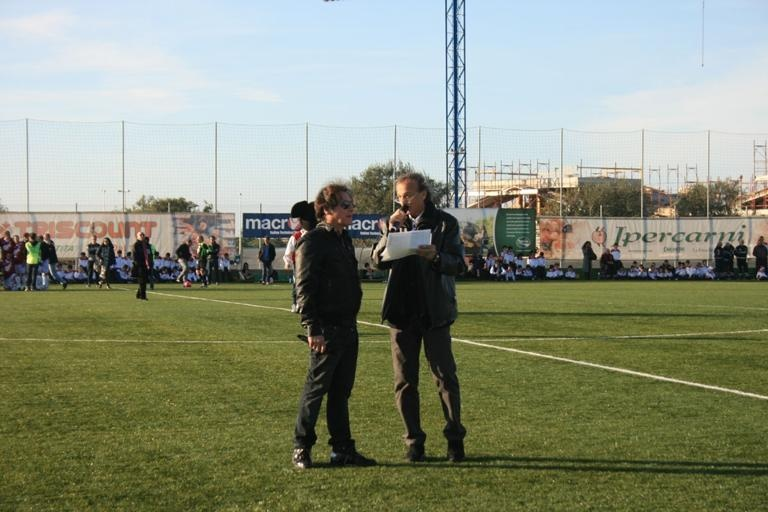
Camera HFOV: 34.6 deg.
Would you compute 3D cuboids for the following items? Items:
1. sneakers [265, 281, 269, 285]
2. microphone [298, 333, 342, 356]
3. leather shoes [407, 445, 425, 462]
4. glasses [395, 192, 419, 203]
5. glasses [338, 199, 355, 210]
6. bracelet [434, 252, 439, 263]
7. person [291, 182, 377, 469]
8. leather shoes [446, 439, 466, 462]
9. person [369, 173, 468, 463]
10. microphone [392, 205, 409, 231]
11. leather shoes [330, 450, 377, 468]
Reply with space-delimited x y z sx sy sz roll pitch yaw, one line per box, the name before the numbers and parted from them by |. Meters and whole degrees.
sneakers | -3.629 0.874 38.294 0.073 0.093 0.236 2 -9 -4
microphone | -0.868 1.162 15.962 0.396 0.139 0.290 7 -1 -9
leather shoes | 0.418 2.575 15.966 0.234 0.212 0.126 0 3 0
glasses | 0.356 -0.748 16.292 0.169 0.081 0.179 -1 20 33
glasses | -0.477 -0.661 15.966 0.129 0.130 0.043 0 5 4
bracelet | 0.693 0.033 15.969 0.022 0.091 0.092 12 -32 -34
person | -0.718 1.135 15.986 0.919 3.189 0.495 -1 3 -4
leather shoes | 0.939 2.542 15.988 0.226 0.267 0.157 0 3 4
person | 0.512 0.788 16.185 1.135 3.738 0.755 0 3 1
microphone | 0.225 -0.498 16.304 0.227 0.291 0.095 11 -6 32
leather shoes | -0.380 2.626 15.959 0.615 0.240 0.219 0 4 -3
